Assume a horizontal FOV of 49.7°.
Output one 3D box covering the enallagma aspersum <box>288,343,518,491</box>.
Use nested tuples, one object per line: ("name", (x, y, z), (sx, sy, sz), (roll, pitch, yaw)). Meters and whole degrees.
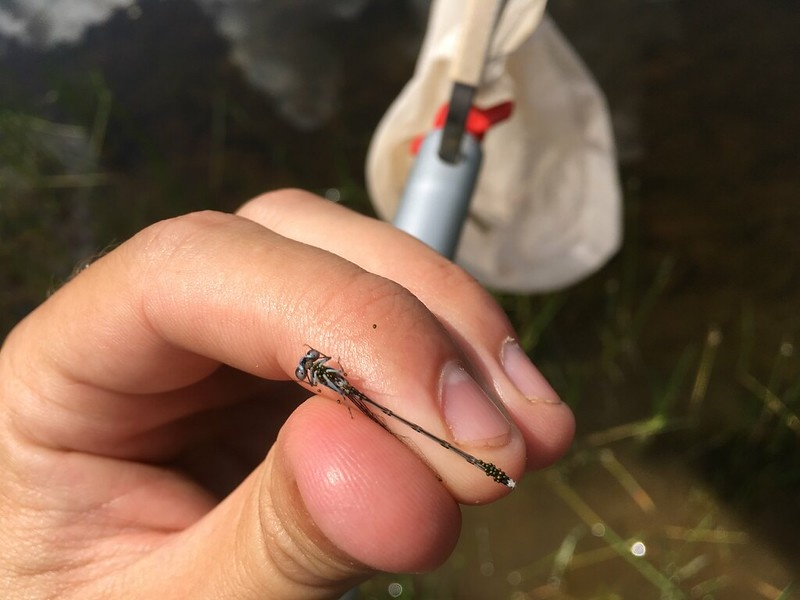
("enallagma aspersum", (-0.004, 0.124, 0.898), (0.160, 0.066, 0.050), (38, 88, 0))
